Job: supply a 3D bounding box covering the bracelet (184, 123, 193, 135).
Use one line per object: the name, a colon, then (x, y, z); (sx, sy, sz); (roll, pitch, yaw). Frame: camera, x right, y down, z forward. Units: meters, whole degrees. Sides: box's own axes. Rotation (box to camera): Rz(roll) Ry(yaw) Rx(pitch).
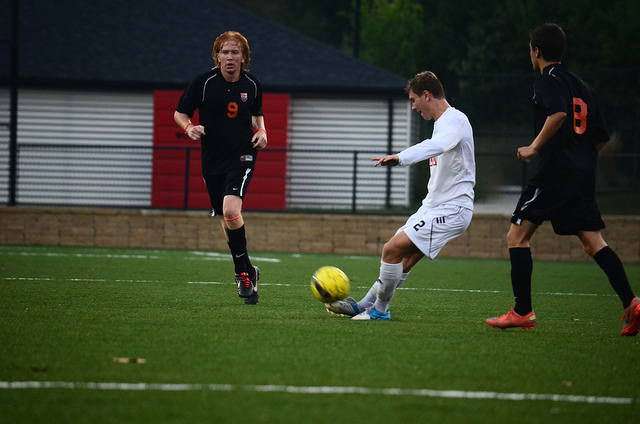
bracelet: (-2.497, -1.573, 21.746); (0.117, 0.202, 0.262); (1, 9, -2)
